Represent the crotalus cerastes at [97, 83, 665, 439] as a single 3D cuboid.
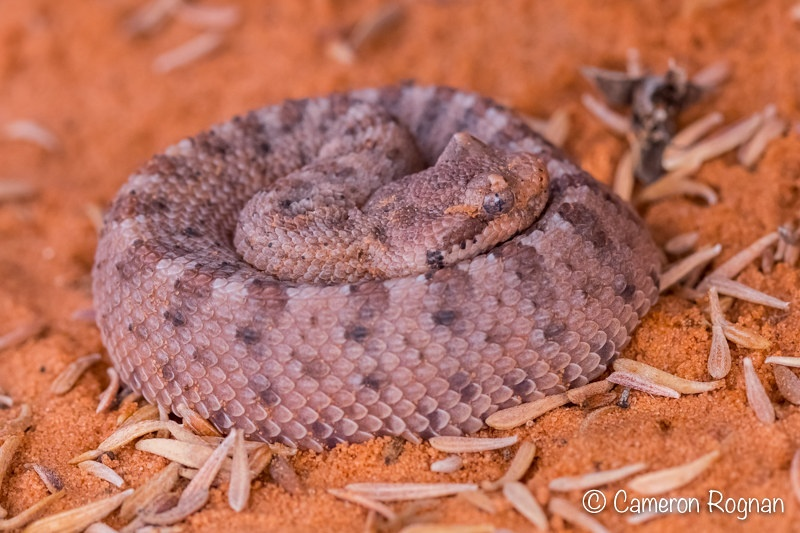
[{"bbox_3d":[-0.025,-0.040,2.930,1.283,0.381,1.397,4,37,15],"label":"crotalus cerastes"}]
